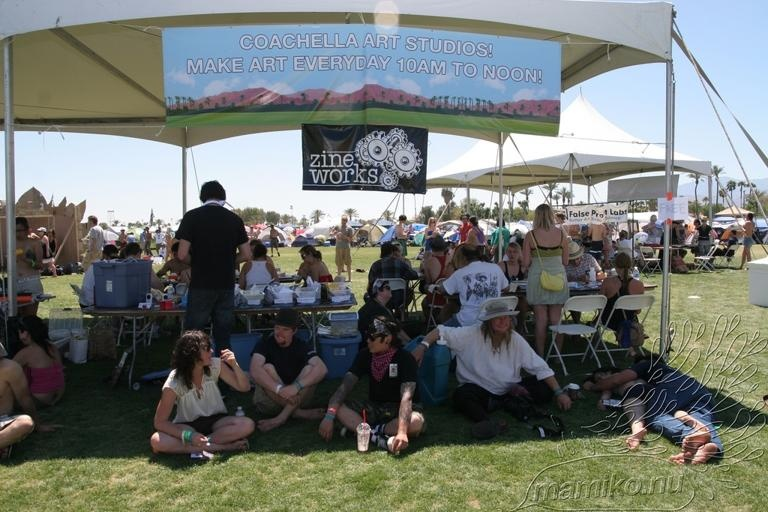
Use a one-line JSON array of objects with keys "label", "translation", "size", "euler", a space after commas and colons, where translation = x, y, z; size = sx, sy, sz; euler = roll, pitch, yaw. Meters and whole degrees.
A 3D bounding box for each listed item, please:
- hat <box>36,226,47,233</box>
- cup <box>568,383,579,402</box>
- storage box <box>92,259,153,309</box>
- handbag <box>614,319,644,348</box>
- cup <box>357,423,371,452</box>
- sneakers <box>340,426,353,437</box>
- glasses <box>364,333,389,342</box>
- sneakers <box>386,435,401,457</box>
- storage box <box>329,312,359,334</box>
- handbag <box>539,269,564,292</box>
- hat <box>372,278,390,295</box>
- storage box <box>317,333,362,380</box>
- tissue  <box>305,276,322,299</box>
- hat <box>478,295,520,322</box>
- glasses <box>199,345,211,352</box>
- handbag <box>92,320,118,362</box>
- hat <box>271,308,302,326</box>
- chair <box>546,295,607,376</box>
[{"label": "hat", "translation": [-9.339, -0.729, 16.008], "size": [0.303, 0.122, 0.368], "euler": [1, -1, -11]}, {"label": "cup", "translation": [2.187, 1.567, 6.775], "size": [0.166, 0.185, 0.130], "euler": [-1, 4, -7]}, {"label": "storage box", "translation": [-3.324, 0.340, 7.490], "size": [0.499, 0.557, 0.777], "euler": [2, 3, 9]}, {"label": "handbag", "translation": [3.338, 1.055, 8.024], "size": [0.363, 0.410, 0.320], "euler": [1, 2, 21]}, {"label": "cup", "translation": [-0.206, 1.811, 5.912], "size": [0.140, 0.272, 0.166], "euler": [-1, 4, -3]}, {"label": "sneakers", "translation": [-0.396, 1.825, 6.093], "size": [0.133, 0.114, 0.035], "euler": [-1, 4, 0]}, {"label": "glasses", "translation": [-0.070, 0.833, 6.040], "size": [0.219, 0.090, 0.074], "euler": [0, 4, 10]}, {"label": "sneakers", "translation": [0.088, 1.871, 5.802], "size": [0.120, 0.173, 0.059], "euler": [4, 8, 26]}, {"label": "storage box", "translation": [-0.521, 0.873, 7.705], "size": [0.275, 0.179, 0.284], "euler": [0, 8, -3]}, {"label": "handbag", "translation": [2.167, 0.326, 7.594], "size": [0.265, 0.278, 0.117], "euler": [4, -5, -7]}, {"label": "hat", "translation": [-0.041, 0.415, 7.678], "size": [0.157, 0.219, 0.214], "euler": [7, 15, -45]}, {"label": "storage box", "translation": [-0.635, 1.231, 7.823], "size": [0.630, 0.612, 0.719], "euler": [1, 16, -10]}, {"label": "tissue ", "translation": [-0.962, 0.414, 7.771], "size": [0.288, 0.302, 0.198], "euler": [1, 4, 12]}, {"label": "hat", "translation": [1.278, 0.608, 6.769], "size": [0.315, 0.146, 0.344], "euler": [-7, -10, -18]}, {"label": "glasses", "translation": [-1.771, 0.917, 5.832], "size": [0.074, 0.070, 0.060], "euler": [8, 1, 32]}, {"label": "handbag", "translation": [-3.954, 1.226, 8.308], "size": [0.430, 0.748, 0.418], "euler": [0, -4, -19]}, {"label": "hat", "translation": [-1.109, 0.688, 6.670], "size": [0.336, 0.154, 0.413], "euler": [12, 4, -11]}, {"label": "chair", "translation": [2.596, 0.994, 7.838], "size": [0.524, 0.669, 0.913], "euler": [3, -24, 3]}]
